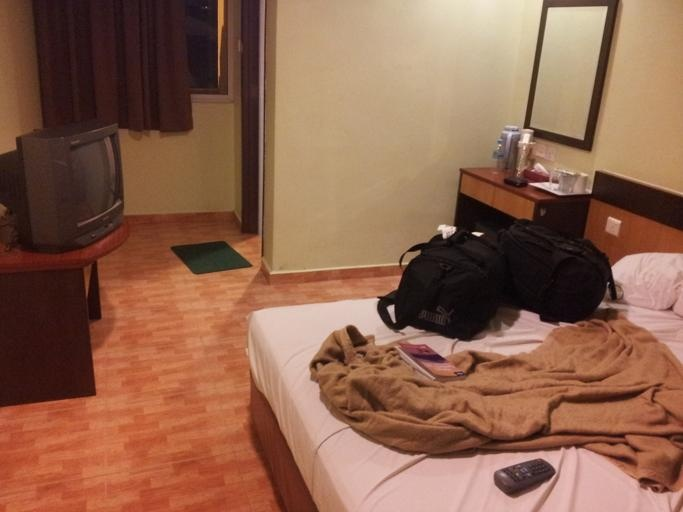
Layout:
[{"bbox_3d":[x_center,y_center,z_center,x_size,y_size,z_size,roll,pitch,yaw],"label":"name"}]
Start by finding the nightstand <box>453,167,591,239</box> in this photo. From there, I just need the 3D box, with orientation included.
[{"bbox_3d":[1.350,-0.288,4.100,0.506,0.603,1.030,-1,20,-21],"label":"nightstand"}]

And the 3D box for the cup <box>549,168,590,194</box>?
[{"bbox_3d":[1.608,-0.535,3.697,0.230,0.144,0.156,-1,14,-10],"label":"cup"}]

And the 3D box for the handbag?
[{"bbox_3d":[0.831,0.110,2.751,0.796,0.280,0.691,-8,13,-3],"label":"handbag"}]

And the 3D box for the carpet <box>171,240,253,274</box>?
[{"bbox_3d":[-1.140,-0.001,4.540,0.510,0.065,0.696,-15,34,-31],"label":"carpet"}]

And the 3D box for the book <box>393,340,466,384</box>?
[{"bbox_3d":[0.377,0.453,2.288,0.135,0.039,0.231,-6,21,-20],"label":"book"}]

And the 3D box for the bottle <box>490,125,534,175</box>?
[{"bbox_3d":[1.350,-0.832,4.080,0.263,0.501,0.292,-10,23,-27],"label":"bottle"}]
